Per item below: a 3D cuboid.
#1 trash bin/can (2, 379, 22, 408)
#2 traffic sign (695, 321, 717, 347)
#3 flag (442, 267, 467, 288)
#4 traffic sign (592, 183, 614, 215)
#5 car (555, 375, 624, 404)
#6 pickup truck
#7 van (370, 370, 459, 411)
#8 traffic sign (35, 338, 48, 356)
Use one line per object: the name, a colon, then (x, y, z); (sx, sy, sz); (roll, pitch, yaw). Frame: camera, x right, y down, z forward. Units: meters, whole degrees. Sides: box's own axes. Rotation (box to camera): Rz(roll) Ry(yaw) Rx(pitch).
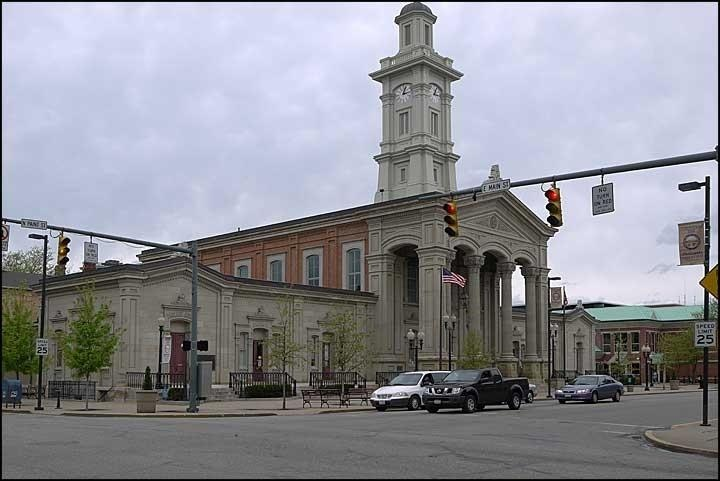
trash bin/can: (-18.852, 8.267, 53.863); (0.946, 1.548, 1.427); (3, -15, -22)
traffic sign: (14.034, 3.811, 40.593); (1.042, 1.247, 0.133); (-3, -7, 41)
flag: (5.897, 2.449, 65.247); (1.619, 1.235, 1.275); (4, -2, 26)
traffic sign: (9.366, -1.718, 38.617); (0.775, 1.306, 1.799); (-5, -14, 12)
car: (13.628, 8.959, 60.021); (1.865, 1.927, 5.220); (-15, -19, 43)
pickup truck: (5.683, 7.533, 49.686); (2.267, 2.058, 6.173); (-5, -7, 41)
van: (3.057, 8.079, 54.194); (2.653, 1.995, 5.967); (-6, -7, 40)
traffic sign: (-16.720, 5.499, 52.195); (0.434, 0.861, 0.859); (-4, -14, 9)
